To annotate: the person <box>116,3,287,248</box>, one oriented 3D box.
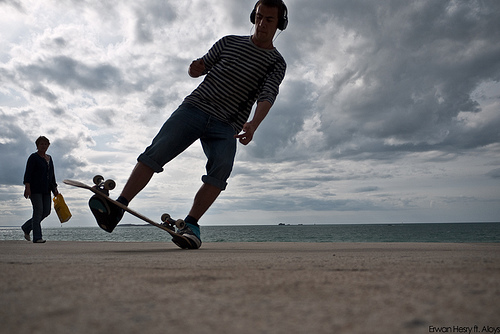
[{"bbox_3d":[-0.361,-0.414,3.327,1.277,2.423,0.518,4,-7,9],"label":"person"}]
